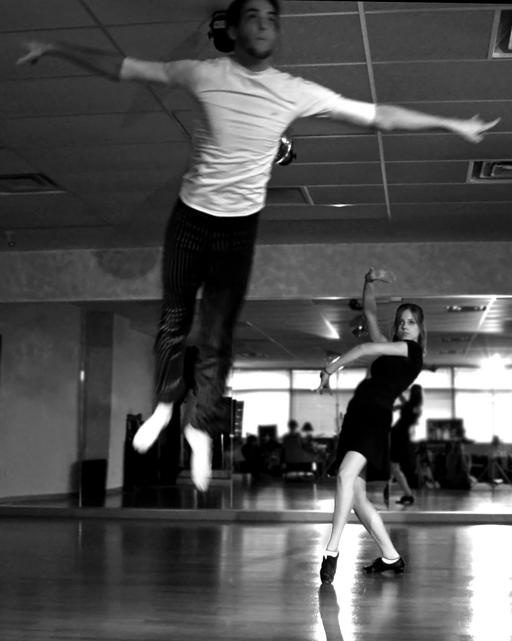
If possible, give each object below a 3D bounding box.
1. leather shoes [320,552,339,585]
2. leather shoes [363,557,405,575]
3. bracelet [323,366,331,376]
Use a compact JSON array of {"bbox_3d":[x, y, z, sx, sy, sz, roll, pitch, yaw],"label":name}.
[{"bbox_3d":[0.340,1.155,4.056,0.072,0.138,0.124,3,-7,5],"label":"leather shoes"},{"bbox_3d":[0.648,1.221,4.326,0.242,0.085,0.084,1,-12,13],"label":"leather shoes"},{"bbox_3d":[0.291,0.204,3.514,0.026,0.030,0.027,-2,-30,5],"label":"bracelet"}]
